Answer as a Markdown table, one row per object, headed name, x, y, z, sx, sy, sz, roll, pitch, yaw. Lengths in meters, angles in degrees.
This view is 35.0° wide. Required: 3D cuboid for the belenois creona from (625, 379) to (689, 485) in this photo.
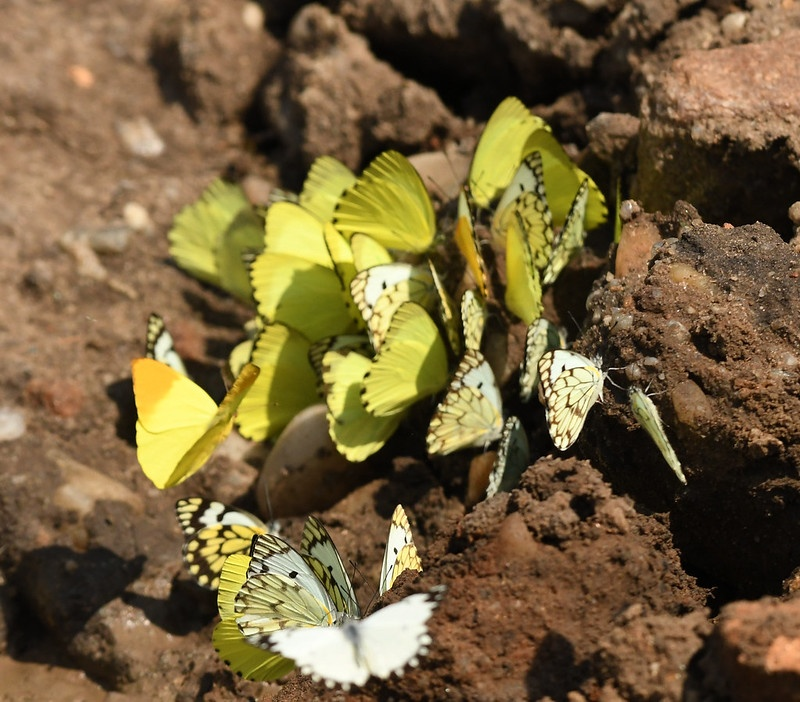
| name | x | y | z | sx | sy | sz | roll | pitch | yaw |
| --- | --- | --- | --- | --- | --- | --- | --- | --- | --- |
| belenois creona | 0.915 | 0.276 | 4.486 | 0.079 | 0.139 | 0.341 | -27 | 86 | 12 |
